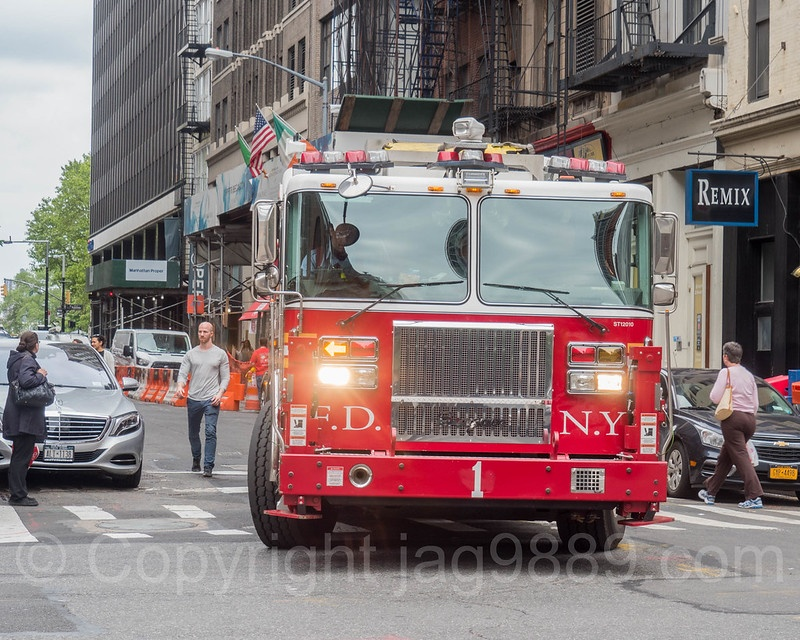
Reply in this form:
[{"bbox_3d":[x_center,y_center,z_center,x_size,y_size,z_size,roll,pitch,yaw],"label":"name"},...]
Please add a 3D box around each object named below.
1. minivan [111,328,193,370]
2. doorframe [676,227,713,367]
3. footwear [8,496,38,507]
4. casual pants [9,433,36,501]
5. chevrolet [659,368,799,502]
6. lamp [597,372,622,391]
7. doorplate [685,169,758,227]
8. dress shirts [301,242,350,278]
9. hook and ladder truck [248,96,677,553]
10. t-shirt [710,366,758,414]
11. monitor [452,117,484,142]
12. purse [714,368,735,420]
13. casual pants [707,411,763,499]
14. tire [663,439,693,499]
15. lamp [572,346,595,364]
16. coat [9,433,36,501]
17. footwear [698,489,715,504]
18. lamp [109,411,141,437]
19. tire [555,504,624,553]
[{"bbox_3d":[-7.756,0.858,43.502,2.012,1.761,3.362,2,-7,-25],"label":"minivan"},{"bbox_3d":[6.231,0.058,28.471,0.277,3.496,1.285,-8,14,11],"label":"doorframe"},{"bbox_3d":[-4.137,1.975,15.190,0.306,0.140,0.125,0,-4,-6],"label":"footwear"},{"bbox_3d":[-4.167,1.610,15.275,0.281,0.688,0.296,1,0,-16],"label":"casual pants"},{"bbox_3d":[4.187,1.400,18.374,1.529,1.441,3.386,1,-6,-15],"label":"chevrolet"},{"bbox_3d":[1.807,0.522,11.837,0.210,0.144,0.049,3,-1,-8],"label":"lamp"},{"bbox_3d":[5.885,-2.202,25.132,0.961,0.718,0.129,1,-3,-14],"label":"doorplate"},{"bbox_3d":[-0.648,-0.504,11.875,0.345,0.139,0.275,-3,26,0],"label":"dress shirts"},{"bbox_3d":[0.531,0.175,11.797,2.370,2.545,4.381,1,-5,-4],"label":"hook and ladder truck"},{"bbox_3d":[4.056,0.861,16.727,0.629,0.560,0.368,2,3,-6],"label":"t-shirt"},{"bbox_3d":[0.658,-1.769,12.967,0.271,0.220,0.212,2,0,1],"label":"monitor"},{"bbox_3d":[3.897,0.893,16.482,0.169,0.449,0.252,0,0,24],"label":"purse"},{"bbox_3d":[4.074,1.616,16.702,0.521,0.748,0.570,1,0,-18],"label":"casual pants"},{"bbox_3d":[3.658,1.923,17.856,0.231,0.719,0.717,6,-14,-10],"label":"tire"},{"bbox_3d":[1.572,0.289,11.820,0.160,0.166,0.043,1,2,-6],"label":"lamp"},{"bbox_3d":[-4.167,1.610,15.275,0.281,0.688,0.296,1,0,-16],"label":"coat"},{"bbox_3d":[3.811,2.177,17.078,0.104,0.128,0.290,1,11,-8],"label":"footwear"},{"bbox_3d":[-3.338,1.250,16.864,0.170,0.141,0.434,-19,8,27],"label":"lamp"},{"bbox_3d":[1.804,1.973,12.958,0.451,0.663,0.602,-2,6,-11],"label":"tire"}]
